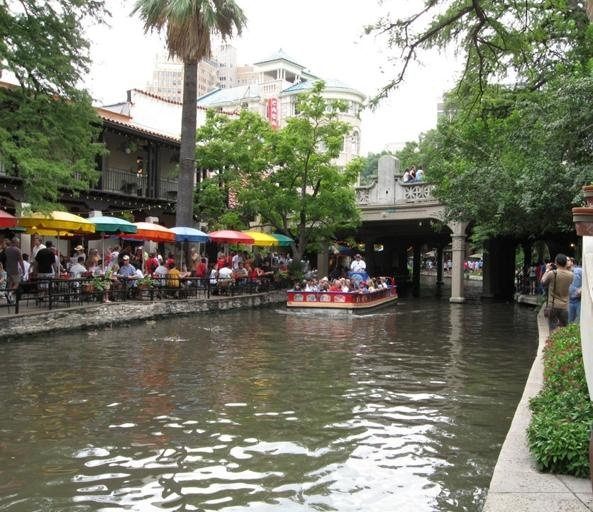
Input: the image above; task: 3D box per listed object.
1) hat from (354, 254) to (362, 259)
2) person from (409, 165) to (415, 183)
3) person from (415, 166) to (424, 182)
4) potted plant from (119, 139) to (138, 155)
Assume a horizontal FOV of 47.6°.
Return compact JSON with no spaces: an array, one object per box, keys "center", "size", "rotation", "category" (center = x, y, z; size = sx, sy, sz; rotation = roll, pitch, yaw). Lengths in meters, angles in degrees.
[{"center":[2.950,-0.035,31.746],"size":[0.339,0.222,0.444],"rotation":[-1,-3,2],"category":"hat"},{"center":[5.829,-4.123,33.816],"size":[0.317,0.828,1.023],"rotation":[0,0,9],"category":"person"},{"center":[6.125,-4.096,33.521],"size":[0.421,0.772,0.922],"rotation":[0,0,8],"category":"person"},{"center":[-7.935,-5.193,31.944],"size":[0.496,0.659,0.744],"rotation":[-1,-8,37],"category":"potted plant"}]
